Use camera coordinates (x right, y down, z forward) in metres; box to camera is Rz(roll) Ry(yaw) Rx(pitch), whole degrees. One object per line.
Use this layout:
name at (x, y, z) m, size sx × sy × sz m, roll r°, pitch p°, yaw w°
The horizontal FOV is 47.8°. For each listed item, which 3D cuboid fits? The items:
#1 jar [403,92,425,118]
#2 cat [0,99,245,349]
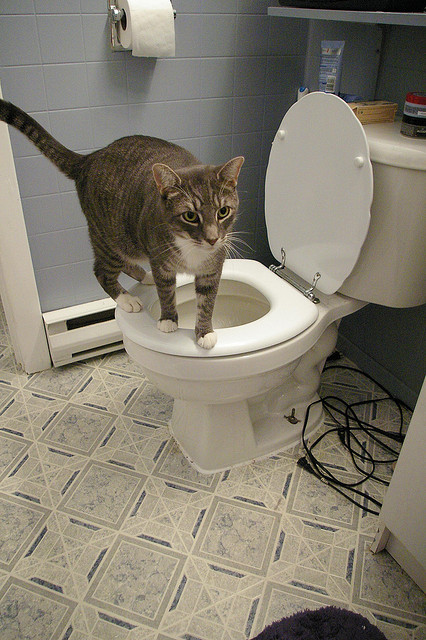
jar at (0.402, -0.430, 0.952) m, size 0.040 × 0.035 × 0.092 m, roll 12°, pitch 36°, yaw 18°
cat at (-0.138, -0.255, 1.074) m, size 0.549 × 0.432 × 0.318 m, roll 21°, pitch 39°, yaw 30°
